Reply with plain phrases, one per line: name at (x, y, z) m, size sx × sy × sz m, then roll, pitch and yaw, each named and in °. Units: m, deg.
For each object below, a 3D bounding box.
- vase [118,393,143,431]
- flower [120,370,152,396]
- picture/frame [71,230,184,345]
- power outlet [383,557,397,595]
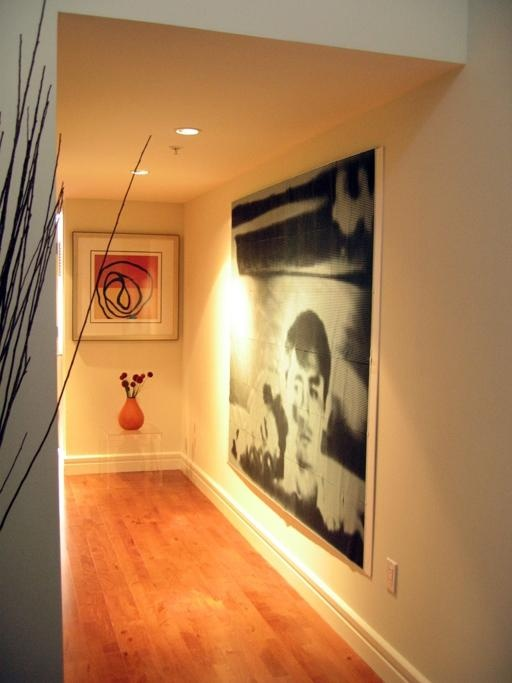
vase at (-1.124, 0.599, 4.556) m, size 0.194 × 0.400 × 0.234 m, roll 3°, pitch 6°, yaw 21°
flower at (-1.106, 0.417, 4.714) m, size 0.301 × 0.252 × 0.620 m, roll 0°, pitch 0°, yaw -13°
picture/frame at (-1.238, -0.512, 4.869) m, size 1.029 × 0.061 × 1.511 m, roll 2°, pitch 49°, yaw -21°
power outlet at (0.512, 0.894, 1.930) m, size 0.010 × 0.098 × 0.081 m, roll 0°, pitch 0°, yaw -16°
